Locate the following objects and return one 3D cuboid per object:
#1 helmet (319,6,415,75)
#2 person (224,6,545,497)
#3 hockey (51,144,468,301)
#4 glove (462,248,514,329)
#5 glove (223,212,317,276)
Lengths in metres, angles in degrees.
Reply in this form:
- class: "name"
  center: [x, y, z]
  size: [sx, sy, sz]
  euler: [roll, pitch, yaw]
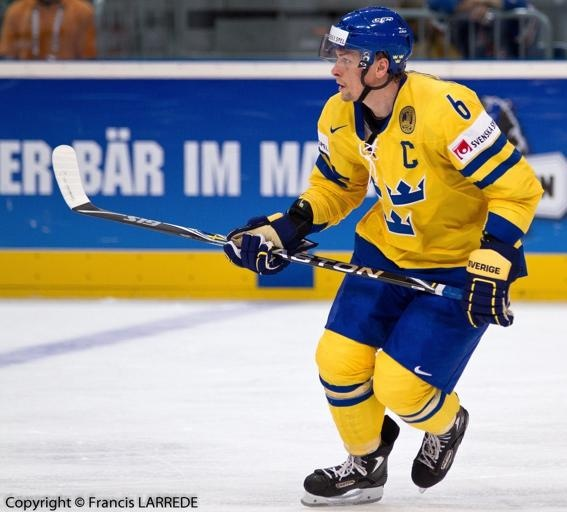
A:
- class: "helmet"
  center: [0.268, -0.711, 3.459]
  size: [0.318, 0.175, 0.201]
  euler: [2, 7, 2]
- class: "person"
  center: [0.332, 0.009, 3.490]
  size: [0.586, 1.617, 0.868]
  euler: [-10, 20, -39]
- class: "hockey"
  center: [-0.002, -0.096, 3.736]
  size: [1.722, 0.187, 0.116]
  euler: [12, 6, -20]
- class: "glove"
  center: [0.644, 0.098, 3.263]
  size: [0.147, 0.241, 0.088]
  euler: [6, 16, 9]
- class: "glove"
  center: [-0.041, -0.046, 3.680]
  size: [0.201, 0.104, 0.265]
  euler: [4, 21, 42]
